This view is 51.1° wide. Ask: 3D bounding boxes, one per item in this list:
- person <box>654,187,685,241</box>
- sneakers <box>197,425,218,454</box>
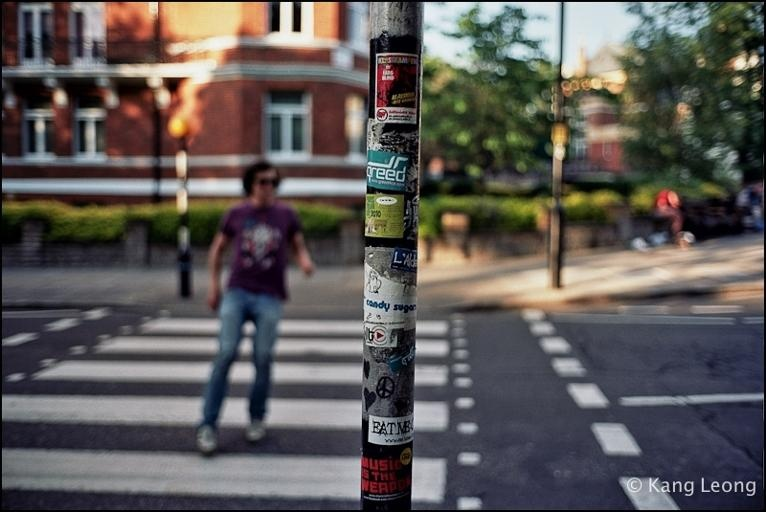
[{"bbox_3d":[3.707,-0.448,10.184,0.309,0.866,0.501,3,10,16],"label":"person"},{"bbox_3d":[-1.885,1.982,8.585,0.195,0.318,0.121,-4,-3,10],"label":"sneakers"}]
